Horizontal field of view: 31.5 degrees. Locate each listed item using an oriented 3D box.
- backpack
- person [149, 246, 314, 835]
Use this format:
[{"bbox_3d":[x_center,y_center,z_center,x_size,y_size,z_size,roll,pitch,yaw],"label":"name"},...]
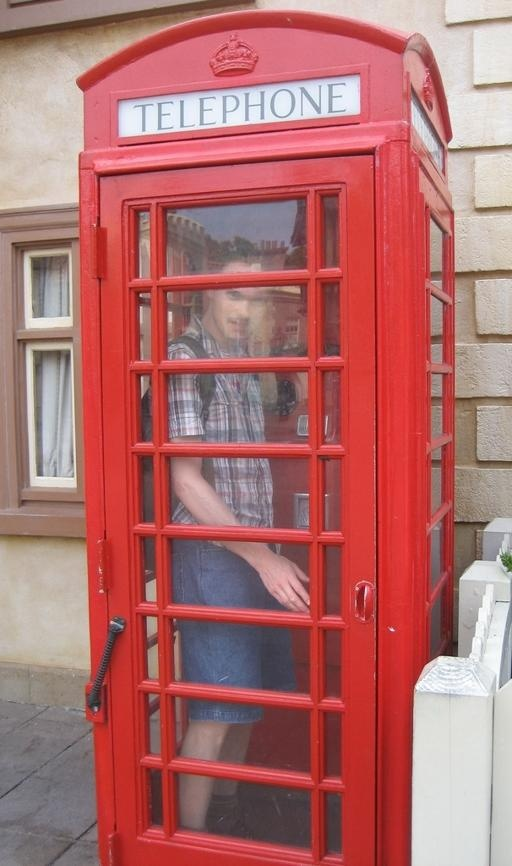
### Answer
[{"bbox_3d":[-0.251,0.049,2.689,0.286,0.624,0.133,7,4,43],"label":"backpack"},{"bbox_3d":[-0.069,0.336,2.653,0.456,1.744,0.154,-2,-1,29],"label":"person"}]
